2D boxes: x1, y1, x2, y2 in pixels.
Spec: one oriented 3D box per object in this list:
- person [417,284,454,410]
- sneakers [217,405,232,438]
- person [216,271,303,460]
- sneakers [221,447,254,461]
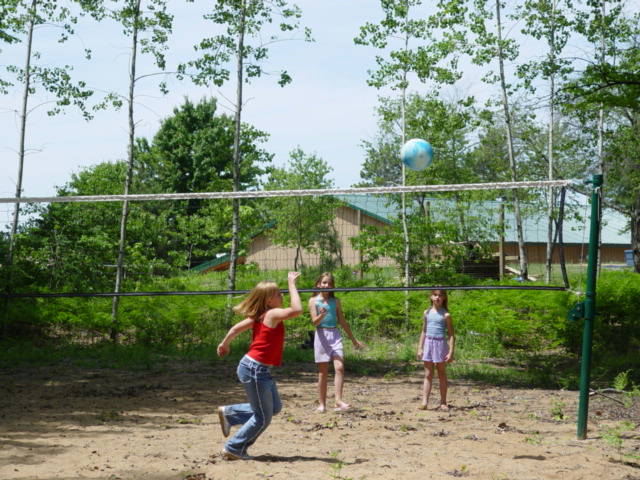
[{"bbox_3d":[2.099,1.952,15.718,0.633,2.225,0.699,1,8,6],"label":"person"},{"bbox_3d":[-1.524,2.907,13.704,0.236,0.580,0.189,-2,13,7],"label":"sneakers"},{"bbox_3d":[-0.964,1.949,13.693,1.322,2.845,0.816,-1,8,-8],"label":"person"},{"bbox_3d":[-1.287,3.329,13.550,0.507,0.228,0.177,2,0,-5],"label":"sneakers"}]
